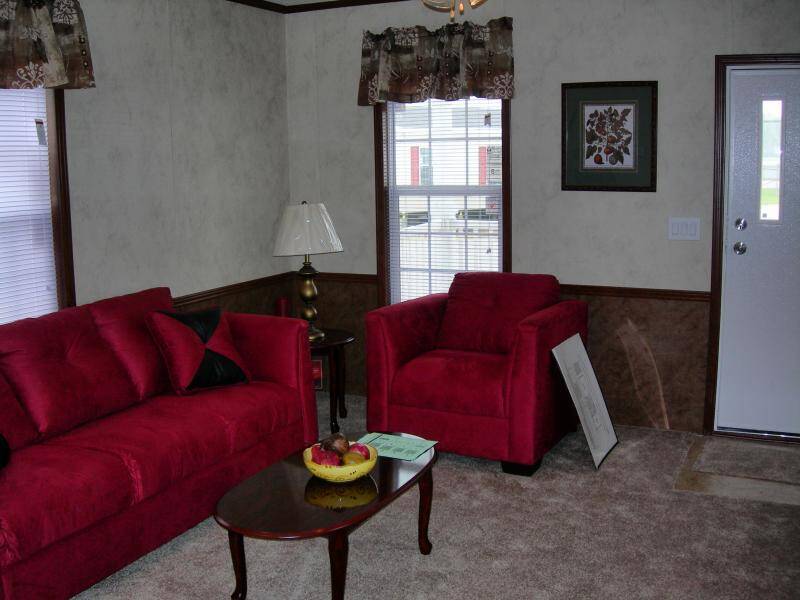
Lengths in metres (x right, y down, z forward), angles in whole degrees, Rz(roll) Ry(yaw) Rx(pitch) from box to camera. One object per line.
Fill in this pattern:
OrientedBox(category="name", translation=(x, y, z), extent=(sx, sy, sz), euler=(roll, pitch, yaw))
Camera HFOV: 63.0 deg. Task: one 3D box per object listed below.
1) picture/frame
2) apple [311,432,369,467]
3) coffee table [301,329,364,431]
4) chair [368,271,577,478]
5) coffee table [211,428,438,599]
OrientedBox(category="picture/frame", translation=(1.438, -1.126, 4.402), extent=(0.680, 0.868, 0.057), euler=(2, 5, 21))
OrientedBox(category="apple", translation=(-0.259, 0.643, 2.761), extent=(0.144, 0.072, 0.148), euler=(4, -3, -25))
OrientedBox(category="coffee table", translation=(-0.461, 0.562, 4.502), extent=(0.329, 0.385, 0.323), euler=(-12, -19, -43))
OrientedBox(category="chair", translation=(0.515, 0.427, 4.294), extent=(1.200, 1.077, 1.122), euler=(3, 7, 36))
OrientedBox(category="coffee table", translation=(-0.306, 0.943, 2.700), extent=(0.851, 0.349, 0.608), euler=(-1, 12, -1))
